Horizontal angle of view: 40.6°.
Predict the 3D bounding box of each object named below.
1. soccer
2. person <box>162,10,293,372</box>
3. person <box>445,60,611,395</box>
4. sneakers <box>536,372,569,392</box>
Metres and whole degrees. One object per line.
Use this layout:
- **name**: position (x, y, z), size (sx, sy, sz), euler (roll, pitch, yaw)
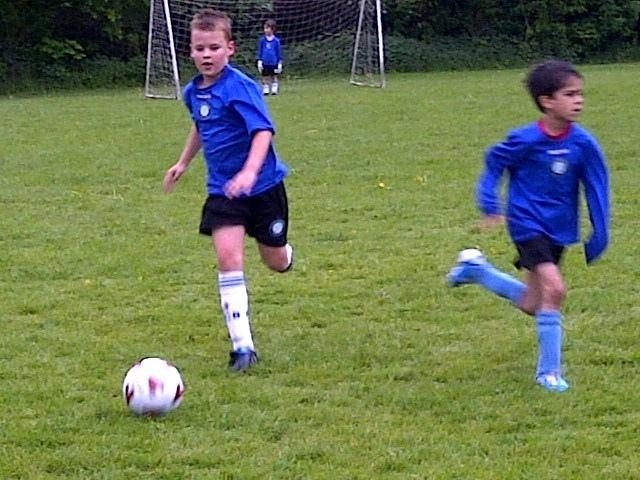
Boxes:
- **soccer**: position (-1.191, 1.065, 6.162), size (0.427, 0.371, 0.378), euler (2, -34, -27)
- **person**: position (-0.644, -0.377, 6.574), size (0.732, 2.714, 0.790), euler (-1, 10, 6)
- **person**: position (1.601, -0.118, 6.454), size (1.038, 2.404, 0.700), euler (2, 11, 22)
- **sneakers**: position (1.710, 1.052, 6.327), size (0.230, 0.141, 0.129), euler (1, 10, 16)
